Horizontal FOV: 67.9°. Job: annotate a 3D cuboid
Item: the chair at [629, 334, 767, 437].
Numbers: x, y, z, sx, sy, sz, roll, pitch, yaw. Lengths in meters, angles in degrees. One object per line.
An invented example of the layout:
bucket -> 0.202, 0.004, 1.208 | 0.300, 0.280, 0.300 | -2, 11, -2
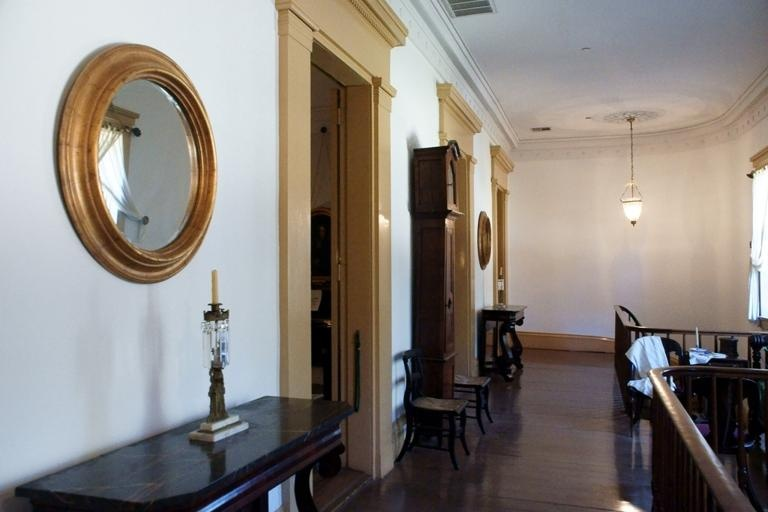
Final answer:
chair -> 2.991, 1.246, 5.497 | 0.867, 1.137, 0.801 | -2, -18, 16

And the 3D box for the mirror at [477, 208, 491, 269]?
mirror -> 1.629, -0.261, 9.394 | 0.084, 0.955, 1.038 | 1, 2, 18

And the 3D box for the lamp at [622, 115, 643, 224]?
lamp -> 4.738, -1.550, 10.986 | 0.406, 1.889, 1.311 | 1, 2, 23

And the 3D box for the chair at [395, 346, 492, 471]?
chair -> 0.653, 1.441, 6.105 | 0.709, 1.075, 1.479 | 1, 2, 20

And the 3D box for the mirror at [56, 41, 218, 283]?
mirror -> -1.247, -0.479, 2.962 | 0.118, 1.207, 0.812 | 1, 2, 36
